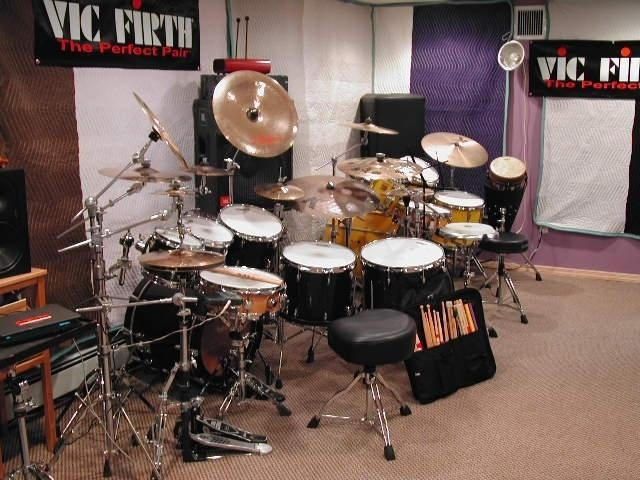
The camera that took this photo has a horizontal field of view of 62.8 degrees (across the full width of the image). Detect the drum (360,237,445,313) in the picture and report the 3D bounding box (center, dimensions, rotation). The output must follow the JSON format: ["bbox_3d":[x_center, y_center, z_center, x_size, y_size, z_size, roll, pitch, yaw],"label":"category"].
[{"bbox_3d":[0.525,0.292,3.875,0.510,0.415,0.533,1,19,0],"label":"drum"}]

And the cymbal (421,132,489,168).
[{"bbox_3d":[1.257,-0.830,4.907,0.566,0.294,0.448,-7,19,-21],"label":"cymbal"}]

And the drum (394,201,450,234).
[{"bbox_3d":[0.921,-0.216,4.768,0.360,0.145,0.407,4,10,3],"label":"drum"}]

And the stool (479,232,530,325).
[{"bbox_3d":[1.737,0.324,5.091,0.500,0.771,0.558,-4,18,8],"label":"stool"}]

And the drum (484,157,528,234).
[{"bbox_3d":[1.992,-0.483,5.664,0.405,0.764,0.330,5,18,17],"label":"drum"}]

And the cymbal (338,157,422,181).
[{"bbox_3d":[0.473,-0.555,4.094,0.345,0.084,0.348,1,26,-5],"label":"cymbal"}]

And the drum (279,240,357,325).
[{"bbox_3d":[-0.005,0.338,3.807,0.514,0.395,0.528,3,11,-1],"label":"drum"}]

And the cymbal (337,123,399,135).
[{"bbox_3d":[0.488,-1.108,5.240,0.393,0.091,0.400,19,18,31],"label":"cymbal"}]

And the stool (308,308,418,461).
[{"bbox_3d":[0.355,0.886,3.390,0.603,0.791,0.609,-7,12,-24],"label":"stool"}]

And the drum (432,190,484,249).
[{"bbox_3d":[1.386,-0.170,5.364,0.455,0.453,0.469,18,14,33],"label":"drum"}]
